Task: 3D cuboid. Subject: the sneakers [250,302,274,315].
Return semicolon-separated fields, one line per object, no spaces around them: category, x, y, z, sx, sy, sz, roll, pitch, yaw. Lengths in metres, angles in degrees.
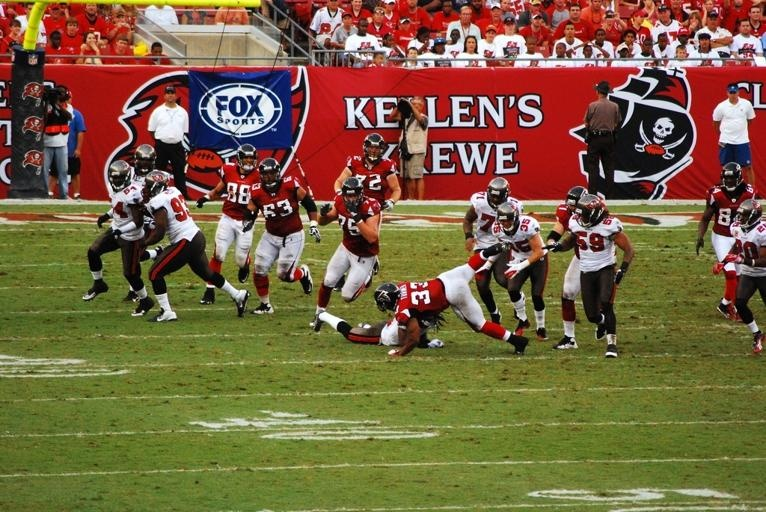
sneakers;-1.663;0.732;18.322;0.388;0.147;0.120;1;3;8

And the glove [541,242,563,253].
glove;2.205;-0.107;16.923;0.234;0.077;0.117;3;8;-8

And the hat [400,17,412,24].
hat;0.449;-4.688;26.199;0.224;0.096;0.305;-1;3;-7

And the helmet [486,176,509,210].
helmet;1.574;-0.888;17.476;0.366;0.376;0.367;7;-34;15

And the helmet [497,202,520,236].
helmet;1.633;-0.483;16.911;0.378;0.373;0.445;-9;12;14

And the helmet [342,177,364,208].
helmet;-0.389;-0.827;17.177;0.330;0.317;0.386;-2;28;2

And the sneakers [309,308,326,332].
sneakers;-0.838;0.841;17.743;0.147;0.282;0.406;34;19;-20

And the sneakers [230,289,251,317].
sneakers;-1.972;0.617;18.116;0.165;0.402;0.198;11;24;28

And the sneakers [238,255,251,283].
sneakers;-2.050;0.197;18.893;0.177;0.428;0.201;14;21;10

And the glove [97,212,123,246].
glove;-3.850;-0.371;18.497;0.276;0.617;0.201;33;45;27

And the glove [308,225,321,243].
glove;-1.036;-0.326;19.766;0.125;0.230;0.251;-22;13;-1

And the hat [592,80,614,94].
hat;4.081;-3.108;24.287;0.254;0.244;0.456;3;6;7

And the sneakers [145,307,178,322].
sneakers;-3.036;0.808;17.835;0.465;0.176;0.138;1;6;3

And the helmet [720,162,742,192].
helmet;4.926;-1.100;18.440;0.292;0.387;0.315;4;6;15

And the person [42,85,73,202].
person;-5.865;-2.092;23.603;0.491;1.815;0.623;1;6;-13

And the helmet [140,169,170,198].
helmet;-3.037;-0.975;17.752;0.447;0.330;0.335;0;20;4

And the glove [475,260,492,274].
glove;1.327;0.146;16.686;0.191;0.065;0.186;-3;14;36

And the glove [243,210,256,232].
glove;-1.844;-0.473;17.999;0.181;0.110;0.358;5;-38;-27

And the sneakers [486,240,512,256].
sneakers;1.481;-0.088;16.612;0.248;0.191;0.373;6;7;33

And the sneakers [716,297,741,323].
sneakers;4.847;0.755;18.257;0.195;0.192;0.480;-13;20;-19

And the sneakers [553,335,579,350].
sneakers;2.375;1.125;17.077;0.408;0.215;0.131;1;5;2

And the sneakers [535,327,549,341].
sneakers;2.130;1.039;17.492;0.165;0.168;0.432;-1;-6;0

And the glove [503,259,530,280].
glove;1.778;0.162;16.949;0.216;0.084;0.354;-6;10;31

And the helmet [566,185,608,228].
helmet;2.586;-0.624;16.764;0.404;0.472;0.539;0;6;-24

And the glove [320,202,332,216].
glove;-0.781;-0.626;18.045;0.173;0.081;0.206;18;-25;12

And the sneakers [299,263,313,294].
sneakers;-1.063;0.343;18.771;0.177;0.413;0.208;-8;15;3

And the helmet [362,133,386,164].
helmet;-0.130;-1.499;18.429;0.383;0.387;0.438;1;7;-2
